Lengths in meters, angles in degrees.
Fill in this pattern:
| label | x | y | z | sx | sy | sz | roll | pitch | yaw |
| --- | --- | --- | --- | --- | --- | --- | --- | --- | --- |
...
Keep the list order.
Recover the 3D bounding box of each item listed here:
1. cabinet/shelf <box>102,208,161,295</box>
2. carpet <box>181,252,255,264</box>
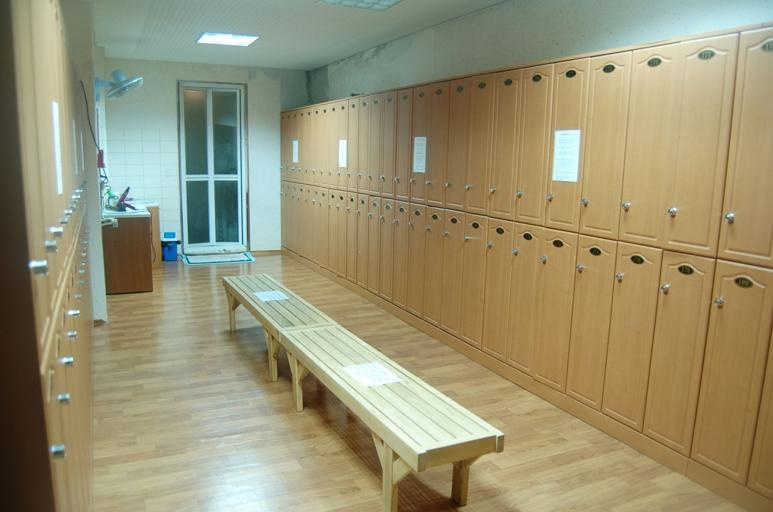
| label | x | y | z | sx | sy | sz | roll | pitch | yaw |
| --- | --- | --- | --- | --- | --- | --- | --- | --- | --- |
| cabinet/shelf | -3.482 | -0.040 | 7.223 | 0.618 | 1.119 | 0.282 | 2 | 13 | -29 |
| carpet | -2.950 | 0.037 | 9.467 | 1.193 | 0.128 | 0.919 | 3 | 11 | -23 |
